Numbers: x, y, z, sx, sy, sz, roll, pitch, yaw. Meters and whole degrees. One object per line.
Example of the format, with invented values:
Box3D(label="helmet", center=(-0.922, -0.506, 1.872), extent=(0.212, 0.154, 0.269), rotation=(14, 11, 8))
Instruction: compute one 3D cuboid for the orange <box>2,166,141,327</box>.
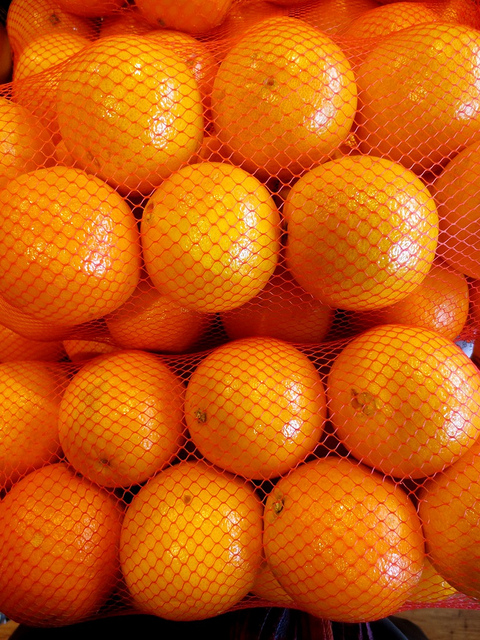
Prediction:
Box3D(label="orange", center=(-0.160, -0.072, 0.576), extent=(0.130, 0.085, 0.116), rotation=(-8, 61, -1))

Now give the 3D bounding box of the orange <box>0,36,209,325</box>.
Box3D(label="orange", center=(-0.128, -0.132, 0.636), extent=(0.154, 0.126, 0.274), rotation=(29, 92, 25))

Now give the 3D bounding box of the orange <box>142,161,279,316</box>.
Box3D(label="orange", center=(-0.023, -0.077, 0.605), extent=(0.127, 0.126, 0.139), rotation=(3, 94, 18))

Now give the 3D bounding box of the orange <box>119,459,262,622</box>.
Box3D(label="orange", center=(-0.044, 0.194, 0.555), extent=(0.127, 0.060, 0.127), rotation=(7, 62, 7))

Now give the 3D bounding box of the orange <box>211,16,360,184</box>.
Box3D(label="orange", center=(0.043, -0.208, 0.578), extent=(0.136, 0.090, 0.148), rotation=(16, 63, 11))

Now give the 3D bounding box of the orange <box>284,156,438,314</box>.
Box3D(label="orange", center=(0.112, -0.072, 0.591), extent=(0.124, 0.132, 0.138), rotation=(5, 67, 7))

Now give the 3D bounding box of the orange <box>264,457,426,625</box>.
Box3D(label="orange", center=(0.092, 0.187, 0.539), extent=(0.140, 0.069, 0.128), rotation=(-5, 61, 0))

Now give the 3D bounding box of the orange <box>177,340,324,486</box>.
Box3D(label="orange", center=(0.013, 0.083, 0.576), extent=(0.129, 0.089, 0.119), rotation=(18, 64, 13))

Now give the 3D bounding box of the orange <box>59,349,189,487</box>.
Box3D(label="orange", center=(-0.125, 0.099, 0.624), extent=(0.125, 0.130, 0.153), rotation=(1, 85, 3))

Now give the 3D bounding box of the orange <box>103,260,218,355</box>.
Box3D(label="orange", center=(-0.075, -0.022, 0.658), extent=(0.102, 0.102, 0.125), rotation=(-10, 84, 40))
